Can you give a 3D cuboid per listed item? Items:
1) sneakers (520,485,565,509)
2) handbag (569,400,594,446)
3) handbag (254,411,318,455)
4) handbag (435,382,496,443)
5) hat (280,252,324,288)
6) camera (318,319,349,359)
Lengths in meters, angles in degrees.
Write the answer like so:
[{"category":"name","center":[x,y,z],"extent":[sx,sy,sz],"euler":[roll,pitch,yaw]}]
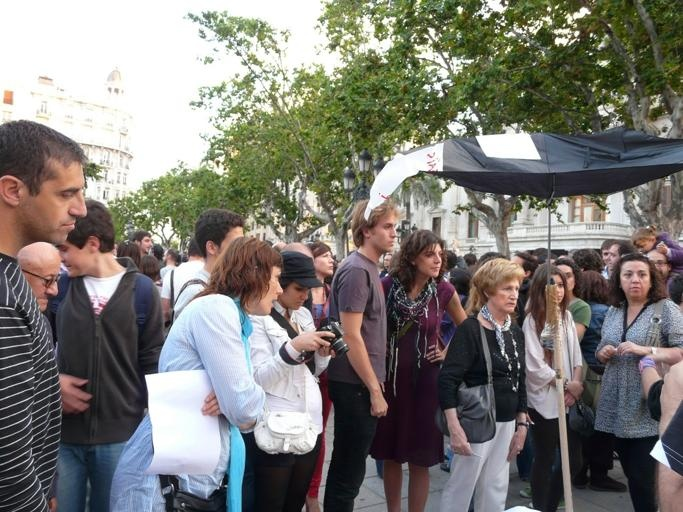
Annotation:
[{"category":"sneakers","center":[2.010,2.430,6.587],"extent":[0.205,0.251,0.606],"euler":[-3,-19,-4]},{"category":"handbag","center":[2.203,1.546,6.051],"extent":[0.259,0.468,0.392],"euler":[-6,-13,26]},{"category":"handbag","center":[-0.371,1.203,4.468],"extent":[0.432,0.225,0.191],"euler":[-2,-2,-11]},{"category":"handbag","center":[1.103,1.280,5.387],"extent":[0.368,0.458,0.183],"euler":[0,-7,7]},{"category":"hat","center":[-0.299,0.115,5.233],"extent":[0.323,0.173,0.235],"euler":[3,-2,25]},{"category":"camera","center":[-0.045,0.586,4.754],"extent":[0.191,0.226,0.312],"euler":[-24,-18,-1]}]
